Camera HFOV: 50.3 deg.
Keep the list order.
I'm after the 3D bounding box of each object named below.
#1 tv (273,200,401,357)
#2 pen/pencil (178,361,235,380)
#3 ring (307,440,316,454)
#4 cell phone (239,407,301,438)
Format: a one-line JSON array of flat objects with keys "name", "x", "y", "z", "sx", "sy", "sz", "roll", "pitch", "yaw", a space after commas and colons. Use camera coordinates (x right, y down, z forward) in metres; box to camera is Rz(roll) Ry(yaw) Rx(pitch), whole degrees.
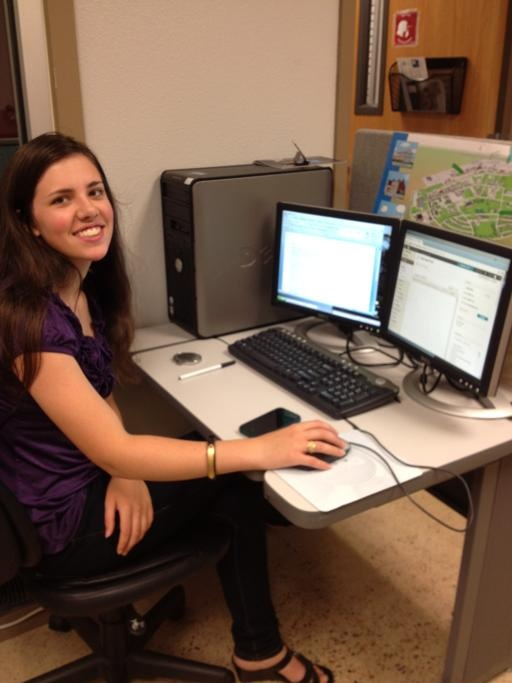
[{"name": "tv", "x": 0.216, "y": -0.165, "z": 1.371, "sx": 0.345, "sy": 0.348, "sz": 0.125, "roll": 18, "pitch": 27, "yaw": 37}, {"name": "pen/pencil", "x": -0.113, "y": 0.067, "z": 1.246, "sx": 0.122, "sy": 0.013, "sz": 0.014, "roll": -16, "pitch": 12, "yaw": -43}, {"name": "ring", "x": 0.086, "y": 0.162, "z": 0.842, "sx": 0.012, "sy": 0.016, "sz": 0.007, "roll": 0, "pitch": -20, "yaw": 13}, {"name": "cell phone", "x": 0.015, "y": 0.141, "z": 0.975, "sx": 0.085, "sy": 0.020, "sz": 0.048, "roll": -22, "pitch": 32, "yaw": -30}]
